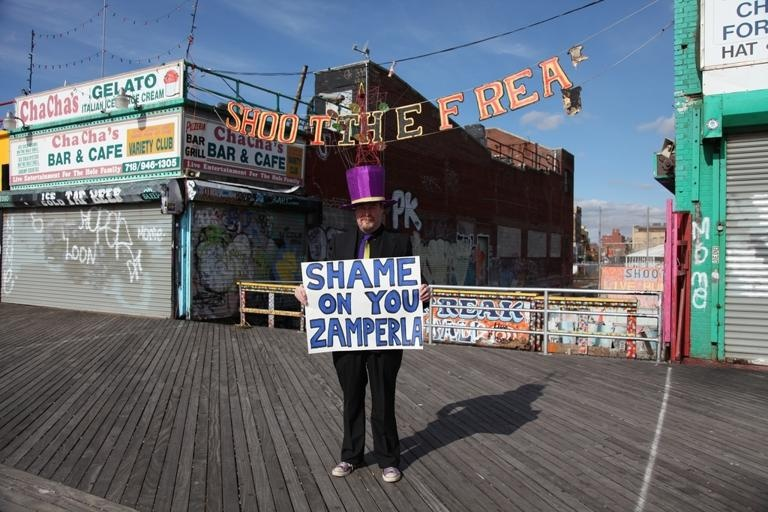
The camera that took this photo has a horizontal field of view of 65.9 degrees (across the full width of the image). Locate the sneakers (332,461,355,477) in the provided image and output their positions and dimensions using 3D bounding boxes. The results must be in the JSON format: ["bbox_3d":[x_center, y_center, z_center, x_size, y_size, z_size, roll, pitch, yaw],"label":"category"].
[{"bbox_3d":[-0.569,2.873,8.027,0.127,0.126,0.305,-2,-24,20],"label":"sneakers"}]

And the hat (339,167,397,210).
[{"bbox_3d":[-0.202,-0.939,8.162,0.640,0.505,0.748,-7,-2,17],"label":"hat"}]
